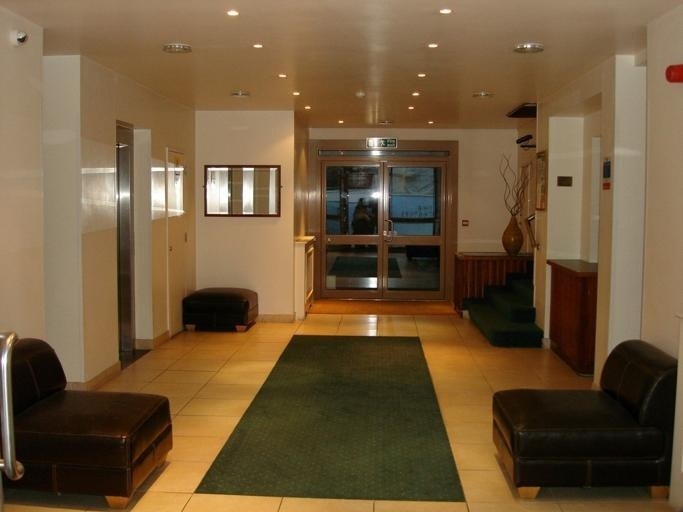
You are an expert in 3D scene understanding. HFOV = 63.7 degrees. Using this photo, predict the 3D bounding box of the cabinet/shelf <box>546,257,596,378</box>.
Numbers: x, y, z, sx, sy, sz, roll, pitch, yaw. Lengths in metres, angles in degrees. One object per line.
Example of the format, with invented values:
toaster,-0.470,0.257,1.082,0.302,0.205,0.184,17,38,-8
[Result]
cabinet/shelf,2.800,0.681,6.403,0.516,1.089,1.166,0,6,5

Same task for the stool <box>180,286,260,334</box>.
stool,-1.723,0.782,7.622,0.803,0.381,0.605,1,9,3

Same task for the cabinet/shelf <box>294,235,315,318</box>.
cabinet/shelf,-0.648,0.320,8.901,0.365,1.002,1.096,1,1,6

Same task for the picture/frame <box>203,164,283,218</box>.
picture/frame,-1.456,-0.908,8.182,1.131,0.767,0.039,0,-2,0

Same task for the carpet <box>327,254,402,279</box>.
carpet,0.433,0.243,10.054,1.253,0.403,0.048,-1,6,1

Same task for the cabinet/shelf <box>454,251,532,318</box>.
cabinet/shelf,2.399,0.469,8.764,1.010,0.837,0.988,0,1,4

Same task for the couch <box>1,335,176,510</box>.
couch,-1.765,1.116,3.738,0.972,0.934,0.670,0,6,9

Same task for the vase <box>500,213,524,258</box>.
vase,2.756,-0.285,8.858,0.298,0.637,0.429,0,6,16

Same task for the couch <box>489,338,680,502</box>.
couch,1.671,1.109,3.920,1.021,0.759,1.009,1,0,7
